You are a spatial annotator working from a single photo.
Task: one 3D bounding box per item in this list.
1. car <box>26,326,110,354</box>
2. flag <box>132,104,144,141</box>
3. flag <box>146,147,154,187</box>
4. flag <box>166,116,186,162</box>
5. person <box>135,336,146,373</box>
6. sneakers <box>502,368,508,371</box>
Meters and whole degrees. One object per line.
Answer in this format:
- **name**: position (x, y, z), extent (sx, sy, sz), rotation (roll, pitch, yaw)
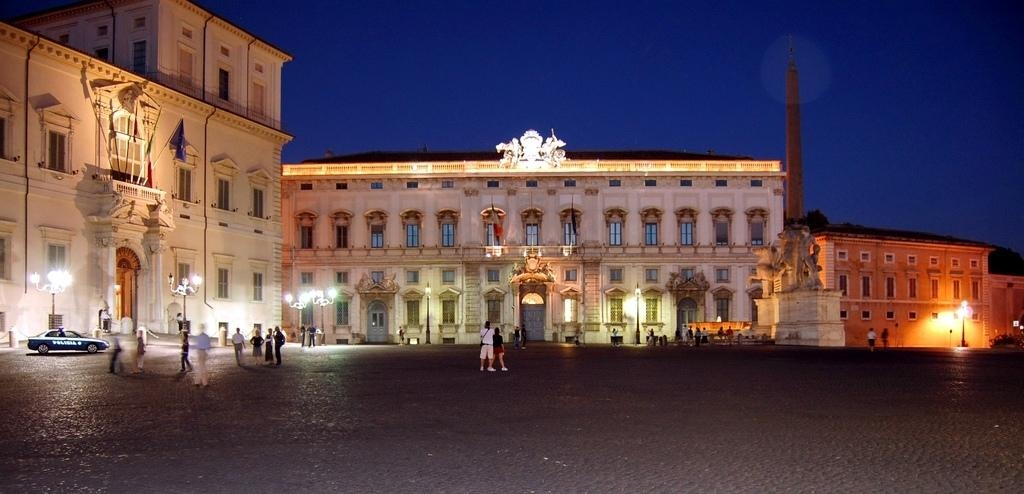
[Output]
- **car**: position (-29.324, 6.156, 68.315), extent (4.599, 1.198, 1.855), rotation (0, -1, -18)
- **flag**: position (-27.521, -8.934, 75.581), extent (0.443, 2.259, 0.696), rotation (-1, 9, -1)
- **flag**: position (-26.585, -5.788, 75.623), extent (0.512, 2.866, 1.497), rotation (-4, 9, -18)
- **flag**: position (-24.949, -7.928, 76.944), extent (1.087, 2.992, 1.663), rotation (-4, 9, -19)
- **person**: position (-21.296, 6.147, 59.097), extent (0.429, 1.958, 0.726), rotation (-3, 9, -13)
- **sneakers**: position (-0.320, 7.198, 60.667), extent (0.396, 0.134, 0.142), rotation (1, 3, -14)
